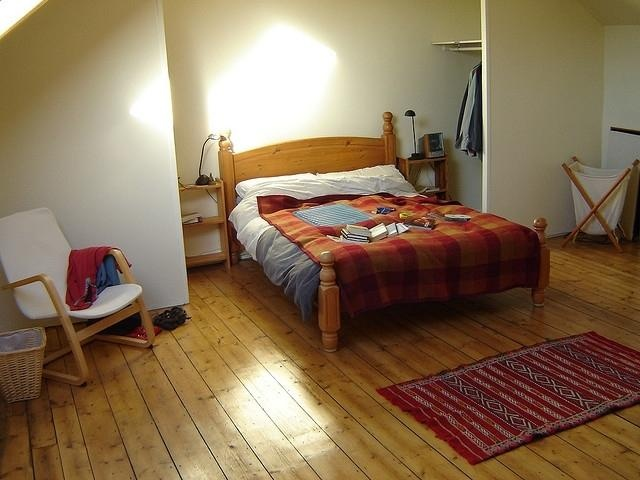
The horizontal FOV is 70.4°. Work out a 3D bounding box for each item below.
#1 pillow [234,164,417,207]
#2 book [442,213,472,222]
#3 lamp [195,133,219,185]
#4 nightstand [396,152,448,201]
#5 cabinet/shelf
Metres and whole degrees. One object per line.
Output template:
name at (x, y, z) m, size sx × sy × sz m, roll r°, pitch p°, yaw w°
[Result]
pillow at (0.065, -0.579, 4.775) m, size 1.864 × 0.263 × 0.524 m, roll -7°, pitch 20°, yaw -10°
book at (1.134, -0.198, 3.780) m, size 0.090 × 0.038 × 0.163 m, roll -4°, pitch 8°, yaw -29°
lamp at (-1.136, -0.807, 4.527) m, size 0.225 × 0.455 × 0.413 m, roll -2°, pitch 20°, yaw 4°
nightstand at (1.186, -0.753, 5.283) m, size 0.525 × 0.915 × 0.332 m, roll -13°, pitch 17°, yaw -30°
cabinet/shelf at (-1.158, -0.142, 4.626) m, size 0.493 × 0.902 × 0.401 m, roll -9°, pitch 21°, yaw -13°
